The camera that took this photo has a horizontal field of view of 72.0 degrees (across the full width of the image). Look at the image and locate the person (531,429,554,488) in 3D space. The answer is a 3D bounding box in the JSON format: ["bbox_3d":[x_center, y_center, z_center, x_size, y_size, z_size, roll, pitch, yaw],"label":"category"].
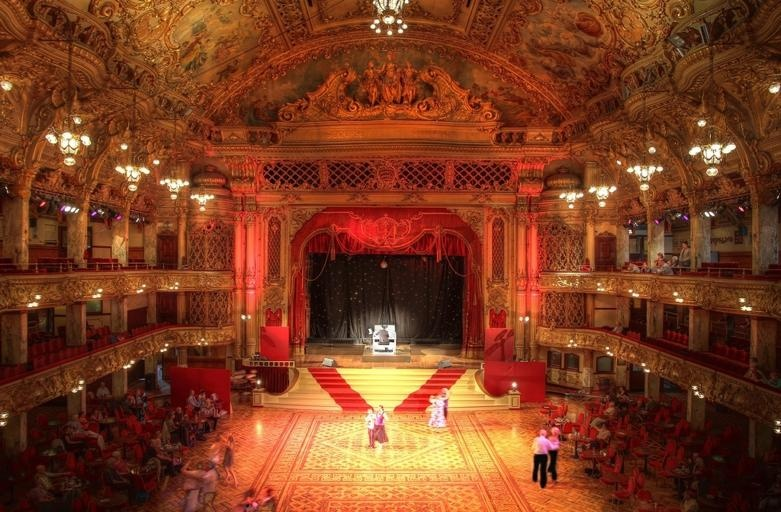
[{"bbox_3d":[5.804,7.651,20.628,0.634,2.152,0.895,3,5,16],"label":"person"}]

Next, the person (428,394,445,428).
[{"bbox_3d":[2.213,7.320,25.331,0.762,1.496,0.492,2,5,6],"label":"person"}]

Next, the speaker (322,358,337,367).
[{"bbox_3d":[-3.374,5.806,29.264,0.404,0.342,0.502,1,-3,-33],"label":"speaker"}]

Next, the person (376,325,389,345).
[{"bbox_3d":[-0.445,4.655,31.576,0.565,0.684,1.009,0,20,1],"label":"person"}]

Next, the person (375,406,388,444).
[{"bbox_3d":[-0.409,7.361,23.599,0.550,1.688,0.593,1,5,0],"label":"person"}]
